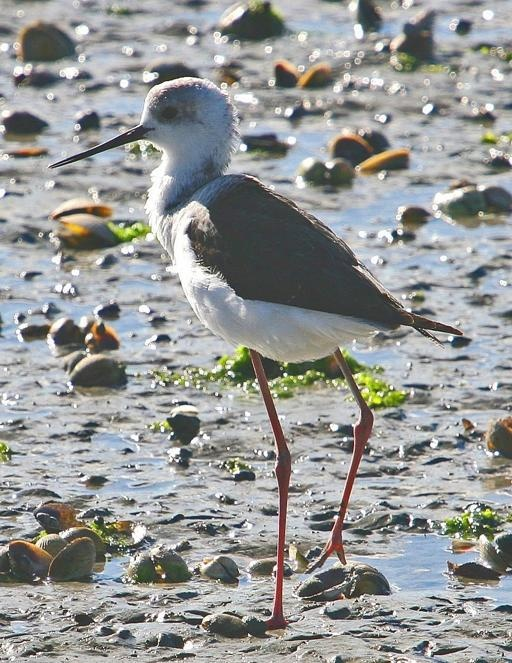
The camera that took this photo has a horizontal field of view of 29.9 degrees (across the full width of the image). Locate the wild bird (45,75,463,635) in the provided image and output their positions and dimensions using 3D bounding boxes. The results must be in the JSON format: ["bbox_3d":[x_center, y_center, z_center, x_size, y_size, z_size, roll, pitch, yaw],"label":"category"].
[{"bbox_3d":[0.054,-0.220,4.389,0.754,2.117,1.360,-3,2,-20],"label":"wild bird"}]
